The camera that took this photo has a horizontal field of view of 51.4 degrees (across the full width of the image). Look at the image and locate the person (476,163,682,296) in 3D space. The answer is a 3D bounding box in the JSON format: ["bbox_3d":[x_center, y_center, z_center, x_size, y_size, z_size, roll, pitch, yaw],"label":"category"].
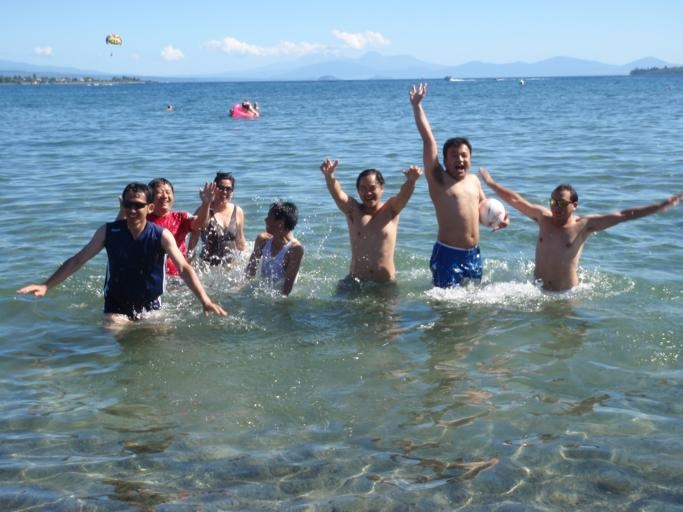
[{"bbox_3d":[3.834,-0.376,11.334,0.500,1.148,2.311,7,4,-42],"label":"person"}]

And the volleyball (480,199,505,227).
[{"bbox_3d":[2.136,-0.611,10.053,0.367,0.381,0.446,0,11,26],"label":"volleyball"}]

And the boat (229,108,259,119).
[{"bbox_3d":[-4.862,-7.128,35.690,1.092,0.385,1.084,3,5,-16],"label":"boat"}]

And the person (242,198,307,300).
[{"bbox_3d":[-0.888,-0.122,9.671,0.747,1.280,0.346,8,15,37],"label":"person"}]

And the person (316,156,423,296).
[{"bbox_3d":[0.380,-0.420,9.777,1.252,1.822,0.619,0,12,4],"label":"person"}]
